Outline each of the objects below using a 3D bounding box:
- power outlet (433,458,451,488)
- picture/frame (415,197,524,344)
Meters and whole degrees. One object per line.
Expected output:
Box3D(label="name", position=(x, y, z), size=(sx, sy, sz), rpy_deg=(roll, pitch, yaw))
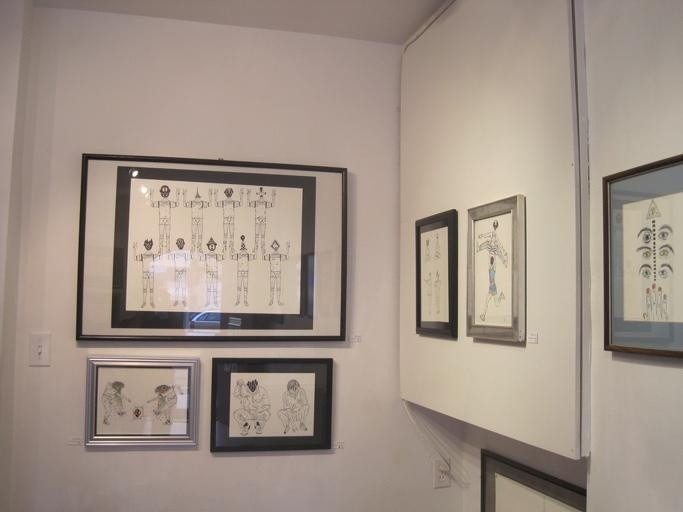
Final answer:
Box3D(label="power outlet", position=(0.424, 0.918, 2.422), size=(0.102, 0.169, 0.019), rpy_deg=(1, -3, -15))
Box3D(label="picture/frame", position=(0.457, 0.050, 1.980), size=(0.027, 0.436, 0.488), rpy_deg=(2, -4, -24))
